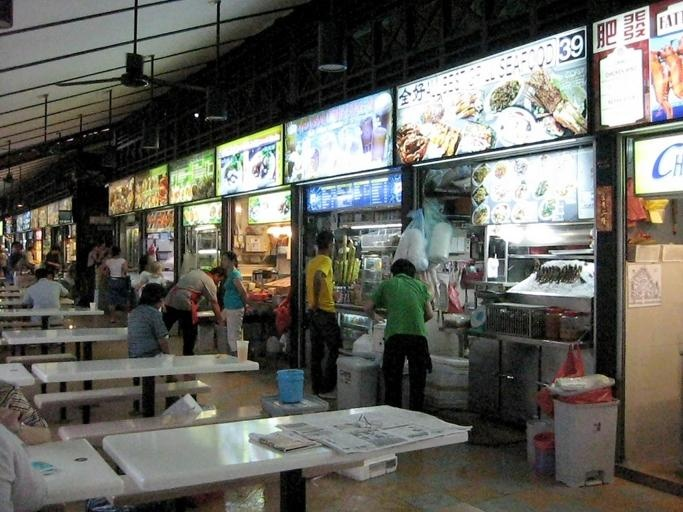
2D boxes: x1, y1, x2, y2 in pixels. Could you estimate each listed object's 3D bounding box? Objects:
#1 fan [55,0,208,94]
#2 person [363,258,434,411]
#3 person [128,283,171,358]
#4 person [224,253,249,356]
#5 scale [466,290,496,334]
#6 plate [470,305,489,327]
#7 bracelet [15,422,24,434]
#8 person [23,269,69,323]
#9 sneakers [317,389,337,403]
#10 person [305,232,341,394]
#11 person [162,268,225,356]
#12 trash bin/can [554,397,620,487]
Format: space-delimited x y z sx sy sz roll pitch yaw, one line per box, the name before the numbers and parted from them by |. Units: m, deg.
fan | -2.836 -2.737 8.537 1.110 1.140 2.975 -2 6 -15
person | 0.579 0.804 5.959 0.597 1.504 0.516 0 5 7
person | -1.934 0.641 6.026 0.364 0.706 0.409 -2 5 -19
person | -1.491 0.679 8.472 0.300 1.499 0.757 -2 5 -12
scale | 1.425 0.599 6.204 0.086 0.369 0.363 12 -14 -8
plate | 1.393 0.609 6.190 0.131 0.249 0.361 0 5 6
bracelet | -1.770 0.945 3.333 0.014 0.043 0.043 3 29 -10
person | -4.392 0.661 8.968 0.533 0.972 0.491 -2 10 -18
sneakers | -0.175 1.658 7.289 0.217 0.089 0.472 -1 6 -3
person | -0.222 0.695 7.431 0.376 1.995 0.353 -2 5 -9
person | -2.032 0.713 8.365 0.701 1.293 0.765 17 9 5
trash bin/can | 2.028 1.522 4.961 0.520 0.675 0.226 -1 5 0
